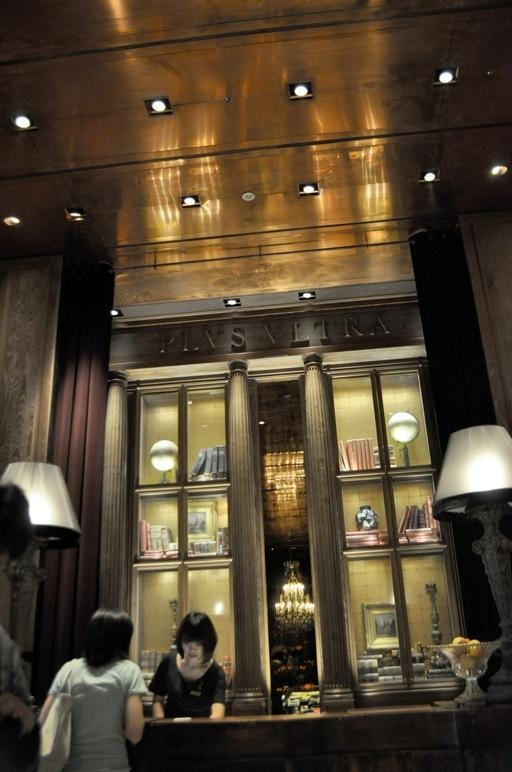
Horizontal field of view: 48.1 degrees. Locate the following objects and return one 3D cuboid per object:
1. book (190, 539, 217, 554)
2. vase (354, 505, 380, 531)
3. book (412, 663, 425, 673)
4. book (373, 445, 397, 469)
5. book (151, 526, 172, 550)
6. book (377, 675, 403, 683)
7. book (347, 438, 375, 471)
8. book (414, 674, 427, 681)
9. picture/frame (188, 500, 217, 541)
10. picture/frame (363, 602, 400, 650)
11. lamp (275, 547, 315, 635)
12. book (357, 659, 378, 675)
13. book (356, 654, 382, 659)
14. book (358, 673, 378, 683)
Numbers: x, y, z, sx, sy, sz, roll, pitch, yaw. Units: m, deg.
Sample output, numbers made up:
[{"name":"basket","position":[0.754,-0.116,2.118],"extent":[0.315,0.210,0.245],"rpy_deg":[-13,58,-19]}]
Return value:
[{"name":"book","position":[-0.483,1.446,5.065],"extent":[0.203,0.114,0.196],"rpy_deg":[-3,2,-1]},{"name":"vase","position":[0.985,1.191,5.105],"extent":[0.184,0.184,0.187],"rpy_deg":[1,-31,0]},{"name":"book","position":[1.295,2.263,4.557],"extent":[0.099,0.084,0.035],"rpy_deg":[-4,-21,4]},{"name":"book","position":[1.171,0.667,5.270],"extent":[0.192,0.194,0.180],"rpy_deg":[-3,-19,-1]},{"name":"book","position":[-0.849,1.396,5.224],"extent":[0.165,0.229,0.228],"rpy_deg":[-5,-17,9]},{"name":"book","position":[1.062,2.334,4.538],"extent":[0.191,0.059,0.050],"rpy_deg":[-7,-21,11]},{"name":"book","position":[0.940,0.651,5.276],"extent":[0.245,0.363,0.257],"rpy_deg":[-1,-21,5]},{"name":"book","position":[1.298,2.306,4.515],"extent":[0.053,0.053,0.015],"rpy_deg":[-4,-48,13]},{"name":"picture/frame","position":[-0.506,1.258,5.259],"extent":[0.351,0.363,0.029],"rpy_deg":[3,-27,-5]},{"name":"picture/frame","position":[1.051,2.039,4.807],"extent":[0.377,0.389,0.028],"rpy_deg":[-5,-26,-6]},{"name":"lamp","position":[0.568,3.288,9.209],"extent":[0.628,1.239,0.804],"rpy_deg":[-3,-21,2]},{"name":"book","position":[0.896,2.284,4.652],"extent":[0.170,0.170,0.093],"rpy_deg":[0,-33,5]},{"name":"book","position":[0.937,2.228,4.695],"extent":[0.185,0.045,0.055],"rpy_deg":[-6,-21,10]},{"name":"book","position":[0.896,2.346,4.589],"extent":[0.160,0.061,0.036],"rpy_deg":[-2,-21,-1]}]
